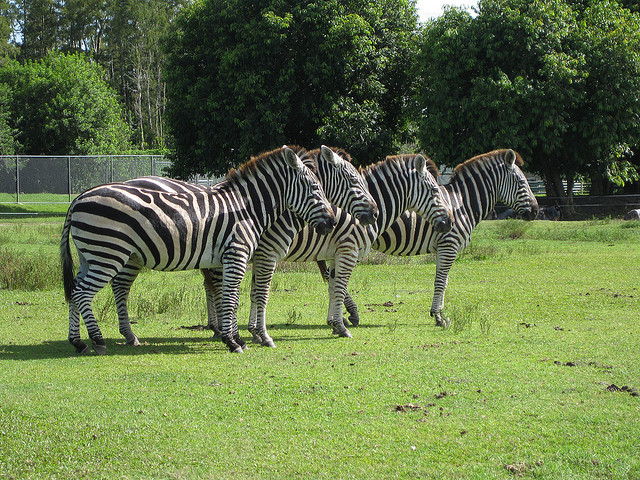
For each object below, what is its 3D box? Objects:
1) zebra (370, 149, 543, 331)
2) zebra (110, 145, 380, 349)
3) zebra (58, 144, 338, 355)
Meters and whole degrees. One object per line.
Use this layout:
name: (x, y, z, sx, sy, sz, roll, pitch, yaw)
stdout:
zebra: (2.472, -0.143, 20.698, 5.018, 3.946, 1.470, 1, -2, 7)
zebra: (-2.178, 0.259, 18.500, 5.091, 4.256, 1.428, 0, 10, 3)
zebra: (-2.466, 0.234, 18.486, 5.469, 4.280, 1.669, 0, 14, -15)
